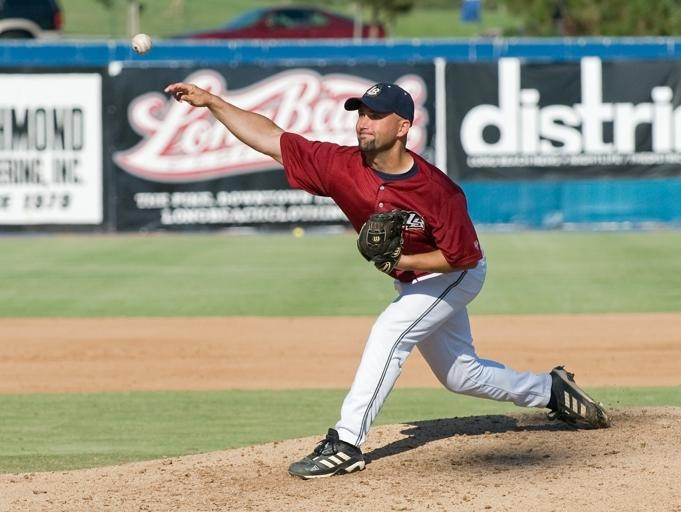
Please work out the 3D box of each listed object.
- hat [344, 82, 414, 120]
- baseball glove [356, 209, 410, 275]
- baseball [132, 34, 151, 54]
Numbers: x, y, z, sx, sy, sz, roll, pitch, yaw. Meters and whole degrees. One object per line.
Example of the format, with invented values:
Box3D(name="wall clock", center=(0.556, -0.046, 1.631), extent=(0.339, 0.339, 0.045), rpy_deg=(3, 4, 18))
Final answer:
Box3D(name="hat", center=(0.387, -1.463, 14.910), extent=(0.562, 0.244, 0.364), rpy_deg=(10, 5, -22))
Box3D(name="baseball glove", center=(0.392, -0.152, 14.759), extent=(0.466, 0.535, 0.228), rpy_deg=(-1, -1, 14))
Box3D(name="baseball", center=(-2.100, -2.289, 16.738), extent=(0.193, 0.209, 0.189), rpy_deg=(1, -13, -37))
